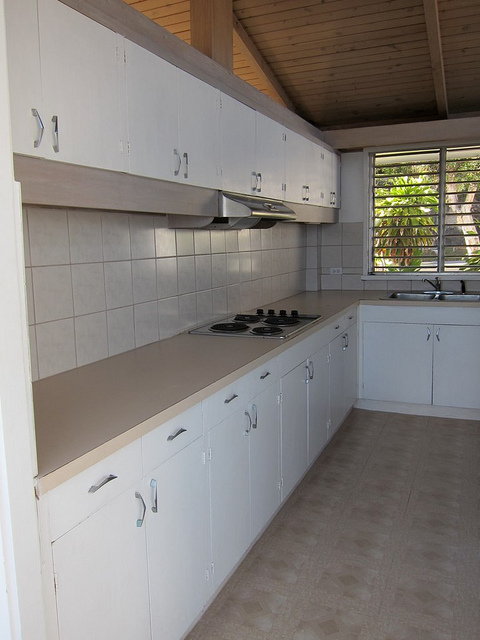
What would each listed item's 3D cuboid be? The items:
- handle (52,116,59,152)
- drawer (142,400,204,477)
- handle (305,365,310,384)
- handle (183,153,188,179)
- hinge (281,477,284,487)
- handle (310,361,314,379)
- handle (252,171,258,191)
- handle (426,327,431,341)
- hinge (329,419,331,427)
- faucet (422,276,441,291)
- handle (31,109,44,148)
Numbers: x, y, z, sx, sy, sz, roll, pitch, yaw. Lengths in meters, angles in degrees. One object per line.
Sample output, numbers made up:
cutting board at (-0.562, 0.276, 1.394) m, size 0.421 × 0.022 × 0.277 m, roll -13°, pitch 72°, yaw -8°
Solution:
handle at (-0.455, -0.455, 1.138) m, size 0.013 × 0.081 × 0.027 m, roll -2°, pitch 5°, yaw -19°
drawer at (-0.200, 0.322, 1.268) m, size 0.096 × 0.096 × 0.173 m, roll 1°, pitch 10°, yaw 24°
handle at (0.384, 0.300, 2.579) m, size 0.014 × 0.115 × 0.085 m, roll 1°, pitch 5°, yaw 18°
handle at (-0.215, -0.615, 1.845) m, size 0.004 × 0.097 × 0.043 m, roll 1°, pitch 5°, yaw 15°
hinge at (0.215, 0.792, 2.265) m, size 0.003 × 0.054 × 0.042 m, roll 1°, pitch 5°, yaw 19°
handle at (0.422, 0.287, 2.666) m, size 0.012 × 0.114 × 0.124 m, roll 1°, pitch 5°, yaw 15°
handle at (0.093, -0.782, 2.600) m, size 0.016 × 0.082 × 0.079 m, roll 0°, pitch 18°, yaw 15°
handle at (1.549, 0.116, 3.746) m, size 0.027 × 0.103 × 0.011 m, roll 2°, pitch 5°, yaw 27°
hinge at (0.615, 0.685, 3.108) m, size 0.009 × 0.041 × 0.038 m, roll 3°, pitch 35°, yaw 15°
faucet at (1.800, -0.338, 4.291) m, size 0.158 × 0.131 × 0.124 m, roll 2°, pitch 5°, yaw 24°
handle at (-0.469, -0.441, 1.070) m, size 0.017 × 0.084 × 0.033 m, roll 0°, pitch 5°, yaw 11°
